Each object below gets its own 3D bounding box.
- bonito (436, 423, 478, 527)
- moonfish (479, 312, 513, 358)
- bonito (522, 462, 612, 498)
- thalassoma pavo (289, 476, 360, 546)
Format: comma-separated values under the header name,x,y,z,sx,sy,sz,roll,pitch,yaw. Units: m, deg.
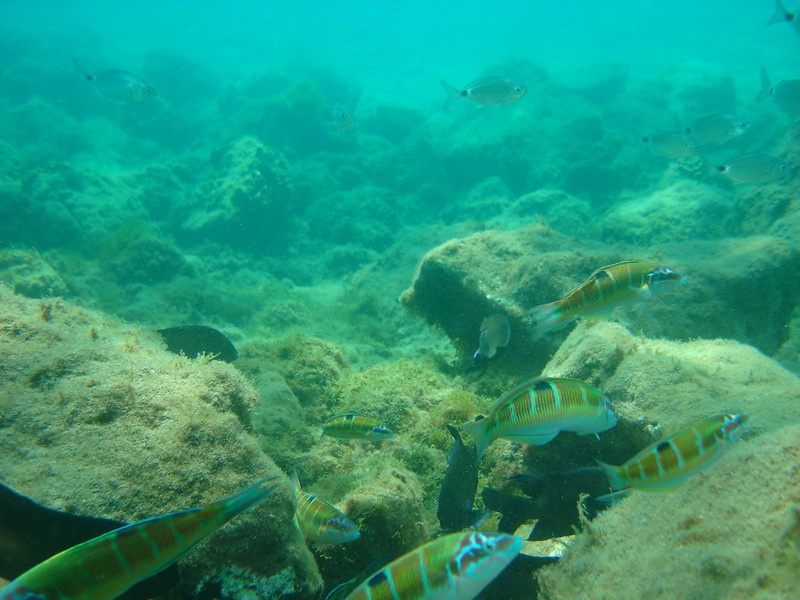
name,x,y,z,sx,sy,sz,roll,pitch,yaw
bonito,1.113,3.323,15.490,0.471,2.167,0.872,3,-19,9
moonfish,1.983,0.814,17.754,0.872,0.922,0.410,-18,15,-26
bonito,2.987,3.361,15.049,1.604,0.536,0.228,-11,13,8
thalassoma pavo,-1.346,3.852,14.763,0.821,0.549,1.142,-13,49,-22
